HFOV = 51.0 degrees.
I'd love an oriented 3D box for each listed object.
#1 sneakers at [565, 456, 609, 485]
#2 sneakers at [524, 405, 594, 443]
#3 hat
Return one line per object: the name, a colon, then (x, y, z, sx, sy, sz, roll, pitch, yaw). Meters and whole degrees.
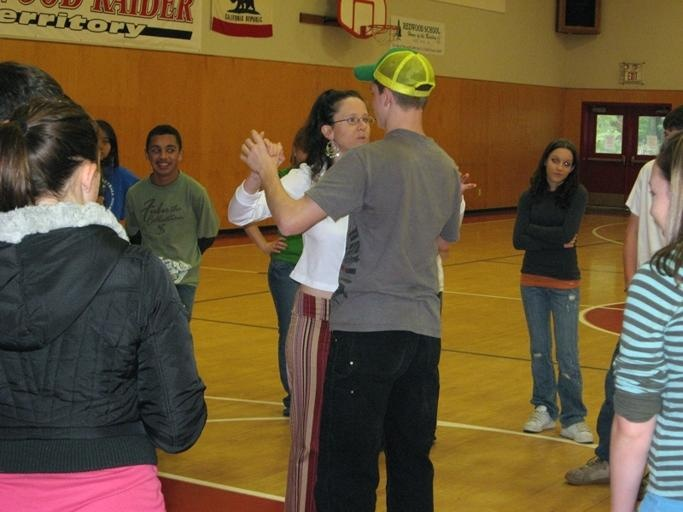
sneakers: (1.458, 1.261, 4.266, 0.341, 0.159, 0.116, 0, 7, -7)
sneakers: (1.490, 1.164, 4.906, 0.550, 0.226, 0.184, 2, 12, 43)
hat: (0.216, -0.742, 3.029, 0.326, 0.174, 0.215, 34, 39, 30)
